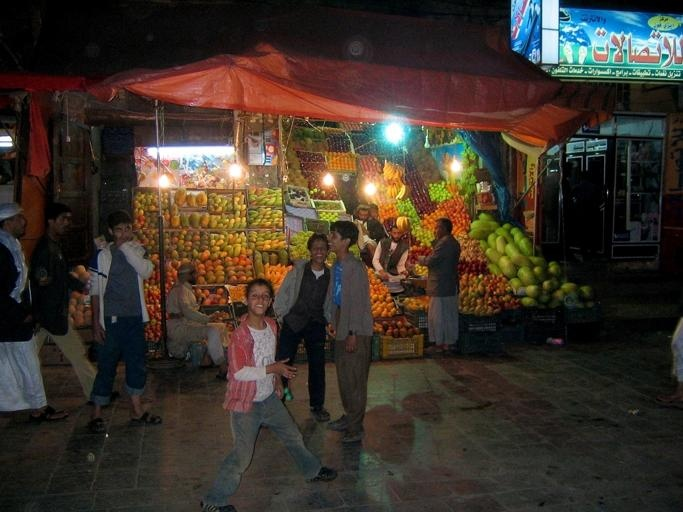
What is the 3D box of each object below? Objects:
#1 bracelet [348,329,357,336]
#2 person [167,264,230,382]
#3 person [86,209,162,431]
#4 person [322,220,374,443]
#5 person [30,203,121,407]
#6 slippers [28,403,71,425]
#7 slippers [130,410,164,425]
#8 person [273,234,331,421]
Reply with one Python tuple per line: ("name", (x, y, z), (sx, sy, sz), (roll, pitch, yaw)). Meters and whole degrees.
("bracelet", (0.113, 0.768, 5.428), (0.087, 0.069, 0.036), (0, 9, 1))
("person", (-1.997, 0.964, 7.873), (0.786, 1.744, 0.969), (1, 2, 33))
("person", (-2.386, 0.698, 5.805), (0.723, 2.308, 0.447), (-3, 10, -21))
("person", (0.079, 0.766, 5.747), (0.621, 1.948, 0.745), (0, 1, 0))
("person", (-3.152, 0.421, 6.325), (0.873, 2.455, 0.700), (0, 1, -8))
("slippers", (-3.263, 1.743, 6.019), (0.366, 0.148, 0.195), (-2, 6, -12))
("slippers", (-2.155, 1.798, 5.977), (0.260, 0.108, 0.147), (-2, -1, -1))
("person", (-0.424, 0.679, 5.924), (0.624, 1.938, 0.749), (0, 1, -29))
